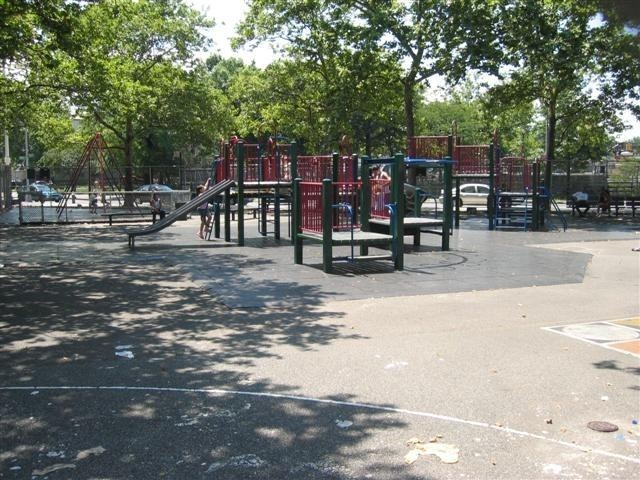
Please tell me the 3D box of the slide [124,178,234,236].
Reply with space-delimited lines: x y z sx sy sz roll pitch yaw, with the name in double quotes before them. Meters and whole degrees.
"slide" -4.386 -1.057 19.898 3.128 1.656 2.216 -4 8 -26
